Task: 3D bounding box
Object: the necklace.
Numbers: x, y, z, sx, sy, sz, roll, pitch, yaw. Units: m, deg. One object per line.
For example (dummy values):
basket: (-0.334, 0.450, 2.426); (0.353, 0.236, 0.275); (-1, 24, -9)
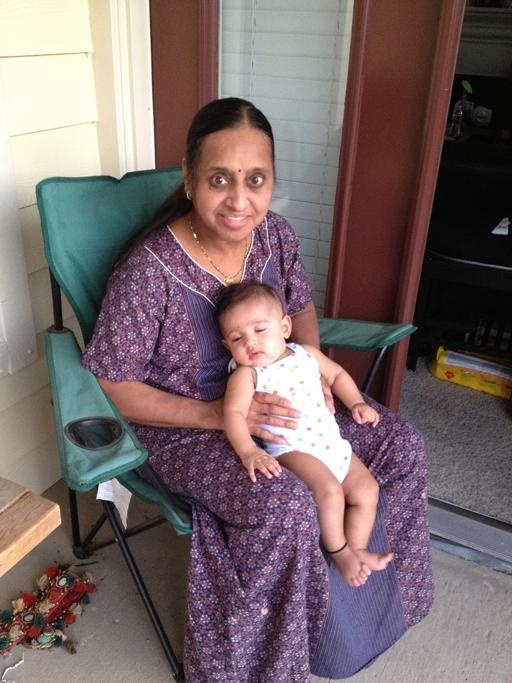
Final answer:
necklace: (-0.075, -0.204, 1.225); (0.110, 0.144, 0.022); (-22, 9, -32)
